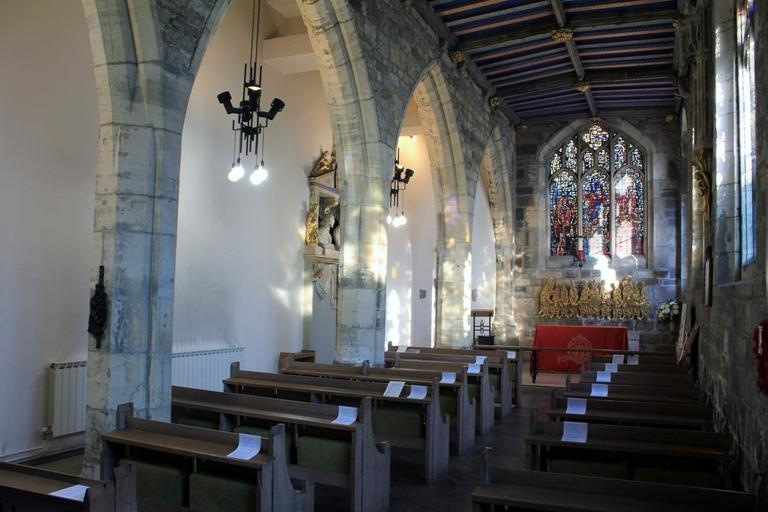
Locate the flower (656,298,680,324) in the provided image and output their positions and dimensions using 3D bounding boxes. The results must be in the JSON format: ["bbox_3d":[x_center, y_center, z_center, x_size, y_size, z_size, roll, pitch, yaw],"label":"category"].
[{"bbox_3d":[6.596,1.306,16.000,0.490,0.468,0.392,-2,-5,23],"label":"flower"}]

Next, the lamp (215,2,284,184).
[{"bbox_3d":[-2.097,-2.751,10.852,0.858,3.560,2.673,1,-5,-10],"label":"lamp"}]

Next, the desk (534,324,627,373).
[{"bbox_3d":[4.709,2.258,16.389,2.203,1.114,0.936,-3,-17,30],"label":"desk"}]
